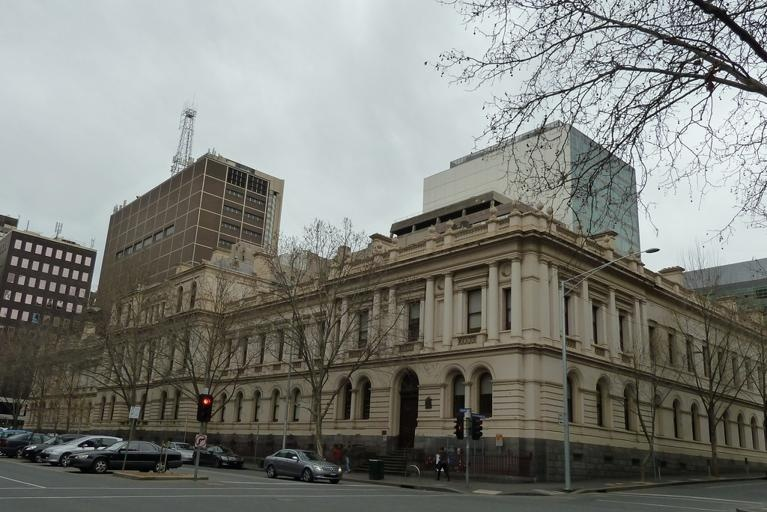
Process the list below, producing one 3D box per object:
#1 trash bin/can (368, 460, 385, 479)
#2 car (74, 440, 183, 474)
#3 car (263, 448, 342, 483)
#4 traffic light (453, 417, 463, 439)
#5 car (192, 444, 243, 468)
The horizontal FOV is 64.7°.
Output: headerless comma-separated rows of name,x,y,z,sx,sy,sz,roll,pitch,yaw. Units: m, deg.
trash bin/can,-0.466,13.900,39.542,0.877,1.195,0.631,6,-24,-10
car,-14.850,11.333,34.432,4.705,1.832,1.601,9,-25,-16
car,-5.164,12.900,37.550,5.417,2.076,1.344,-14,-28,31
traffic light,4.492,9.924,35.327,0.445,1.244,0.779,-2,-24,10
car,-12.857,15.648,47.321,3.261,1.698,2.035,-10,-26,25
